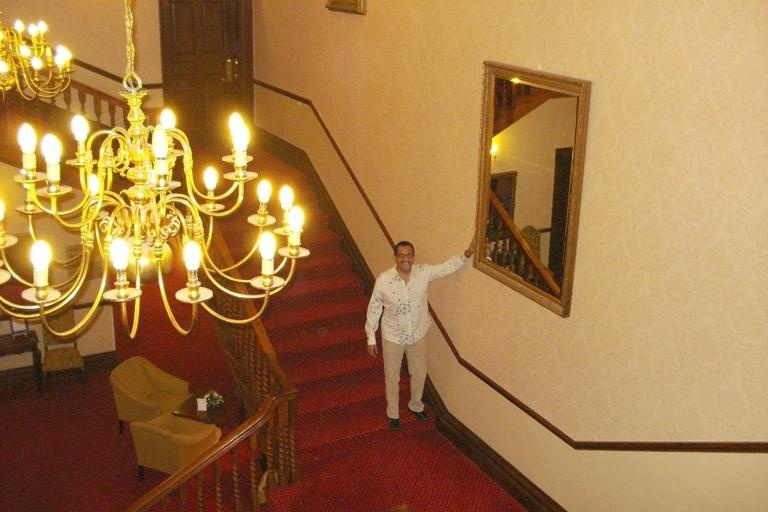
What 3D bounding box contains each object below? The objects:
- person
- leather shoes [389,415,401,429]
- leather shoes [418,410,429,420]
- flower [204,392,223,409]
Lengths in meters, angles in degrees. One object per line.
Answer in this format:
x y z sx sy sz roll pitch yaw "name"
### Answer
0.291 0.817 6.340 0.959 2.274 0.573 7 25 -5 "person"
0.132 1.908 6.564 0.074 0.158 0.065 -19 -5 -6 "leather shoes"
0.476 1.861 6.722 0.069 0.064 0.147 -12 22 -31 "leather shoes"
-2.300 1.957 7.846 0.240 0.137 0.273 2 26 -16 "flower"
